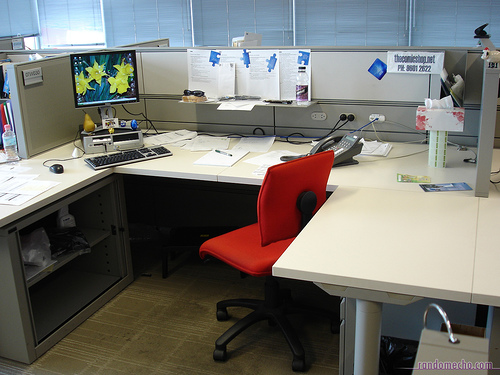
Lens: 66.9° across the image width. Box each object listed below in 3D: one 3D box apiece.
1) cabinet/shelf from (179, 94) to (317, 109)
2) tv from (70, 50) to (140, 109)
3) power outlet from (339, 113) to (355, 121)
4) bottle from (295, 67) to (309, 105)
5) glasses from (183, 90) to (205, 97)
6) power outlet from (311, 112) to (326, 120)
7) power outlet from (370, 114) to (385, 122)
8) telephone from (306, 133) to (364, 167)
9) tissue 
[{"bbox_3d":[-0.021,-0.586,2.633,0.957,0.111,0.252,1,18,9],"label":"cabinet/shelf"},{"bbox_3d":[-1.004,-0.747,2.588,0.450,0.362,0.044,-7,17,-24],"label":"tv"},{"bbox_3d":[0.674,-0.487,2.626,0.105,0.058,0.022,0,19,5],"label":"power outlet"},{"bbox_3d":[0.357,-0.705,2.583,0.084,0.235,0.108,0,19,8],"label":"bottle"},{"bbox_3d":[-0.408,-0.689,2.750,0.165,0.056,0.062,0,25,2],"label":"glasses"},{"bbox_3d":[0.486,-0.503,2.679,0.109,0.059,0.019,0,19,7],"label":"power outlet"},{"bbox_3d":[0.864,-0.473,2.572,0.102,0.050,0.033,0,19,5],"label":"power outlet"},{"bbox_3d":[0.521,-0.237,2.305,0.290,0.148,0.286,-18,23,-27],"label":"telephone"},{"bbox_3d":[1.062,-0.406,2.137,0.216,0.146,0.222,2,13,10],"label":"tissue "}]
